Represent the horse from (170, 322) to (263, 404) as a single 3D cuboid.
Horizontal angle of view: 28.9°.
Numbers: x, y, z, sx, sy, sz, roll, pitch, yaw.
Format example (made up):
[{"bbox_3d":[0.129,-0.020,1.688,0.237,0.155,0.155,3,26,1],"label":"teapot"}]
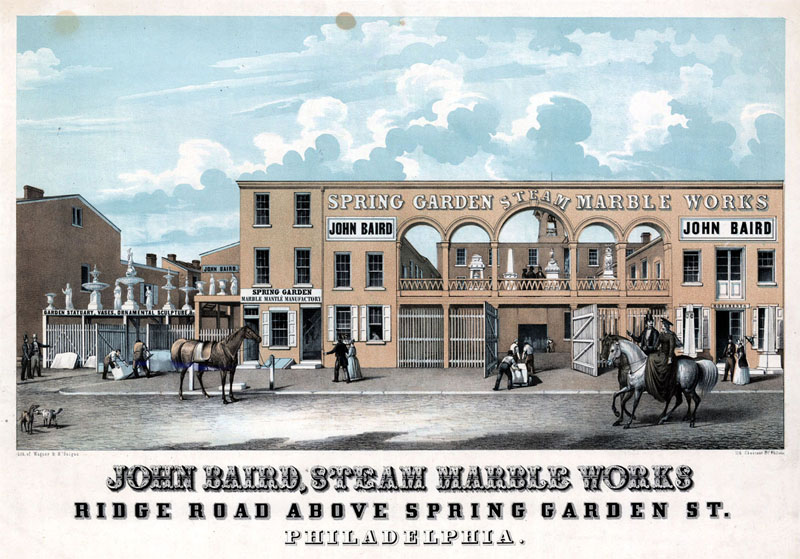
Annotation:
[{"bbox_3d":[-8.135,3.574,67.625,4.230,3.524,1.317,1,0,23],"label":"horse"}]
